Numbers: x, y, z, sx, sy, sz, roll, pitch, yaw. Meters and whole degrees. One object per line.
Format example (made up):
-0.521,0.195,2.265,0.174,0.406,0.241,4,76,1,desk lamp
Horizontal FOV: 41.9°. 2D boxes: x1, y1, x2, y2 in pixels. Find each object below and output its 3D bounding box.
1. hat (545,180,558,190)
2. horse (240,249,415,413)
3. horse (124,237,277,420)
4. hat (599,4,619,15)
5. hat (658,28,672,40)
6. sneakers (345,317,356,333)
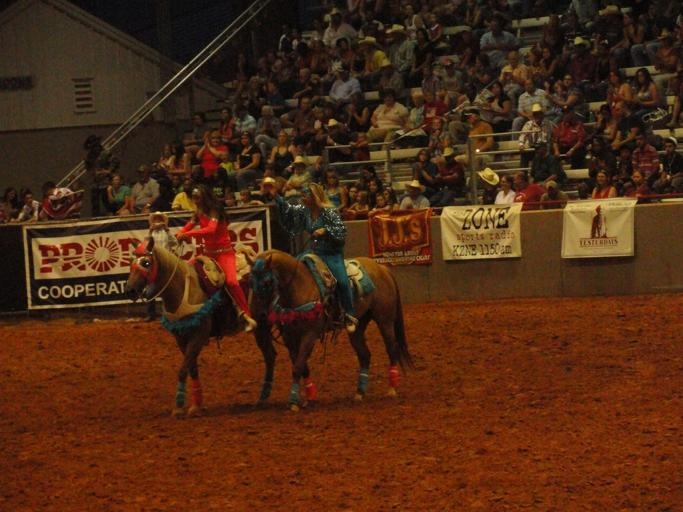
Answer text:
5.133,-1.773,21.787,0.273,0.207,0.318,0,13,11,hat
-0.113,1.280,15.357,1.166,2.721,4.018,-4,-3,42,horse
-2.222,1.243,15.253,1.129,2.917,3.562,-9,-11,40,horse
7.501,-7.079,25.190,0.527,0.210,0.480,-6,-2,39,hat
8.653,-6.033,23.869,0.377,0.177,0.441,-10,-5,-11,hat
0.145,1.153,14.906,0.212,0.229,0.232,2,-4,-4,sneakers
